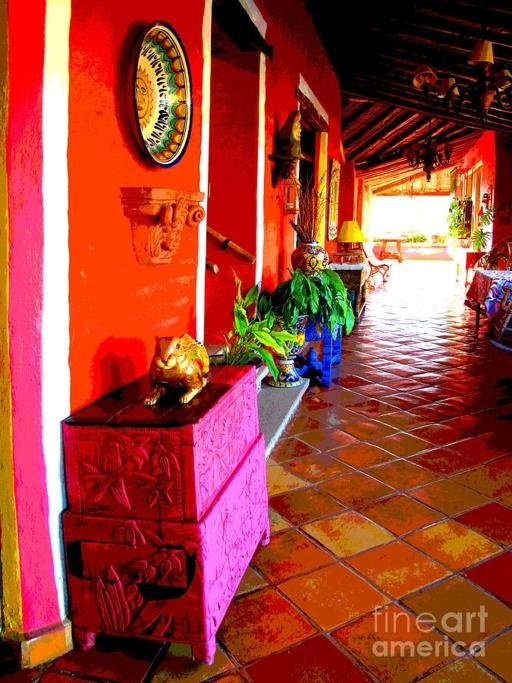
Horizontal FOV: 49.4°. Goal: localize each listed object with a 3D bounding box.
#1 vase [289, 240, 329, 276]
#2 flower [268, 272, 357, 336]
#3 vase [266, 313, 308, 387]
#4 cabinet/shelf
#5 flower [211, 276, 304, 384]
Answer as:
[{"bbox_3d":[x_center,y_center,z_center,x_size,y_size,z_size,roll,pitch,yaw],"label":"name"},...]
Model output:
[{"bbox_3d":[0.363,-0.562,3.915,0.243,0.270,0.234,1,-3,-5],"label":"vase"},{"bbox_3d":[0.336,-0.268,3.719,0.578,0.341,0.445,-11,17,39],"label":"flower"},{"bbox_3d":[0.232,0.085,3.789,0.423,0.589,0.421,1,3,1],"label":"vase"},{"bbox_3d":[-0.246,0.466,1.685,0.395,0.664,0.601,2,8,12],"label":"cabinet/shelf"},{"bbox_3d":[-0.003,-0.090,3.144,0.570,0.471,0.544,17,25,35],"label":"flower"}]
